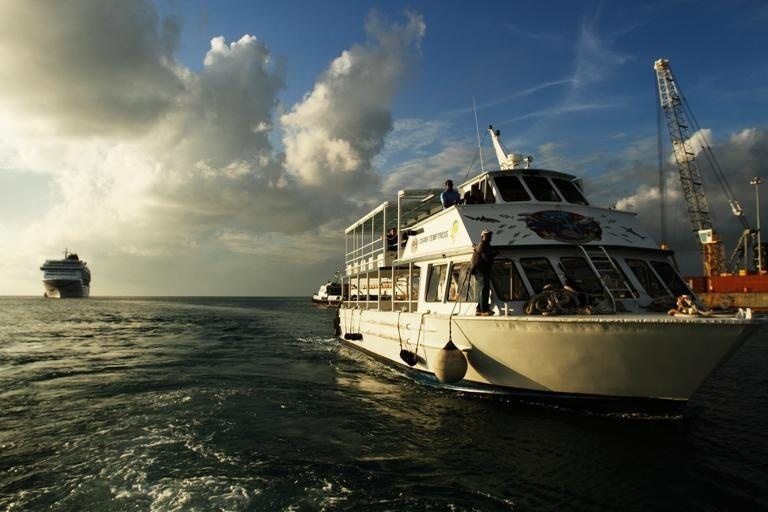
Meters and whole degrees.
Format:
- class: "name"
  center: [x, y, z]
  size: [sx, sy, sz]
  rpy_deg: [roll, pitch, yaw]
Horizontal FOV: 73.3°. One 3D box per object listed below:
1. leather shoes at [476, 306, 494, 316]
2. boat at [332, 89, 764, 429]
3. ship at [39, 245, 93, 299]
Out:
- class: "leather shoes"
  center: [2.989, 1.601, 15.426]
  size: [0.222, 0.223, 0.567]
  rpy_deg: [1, -13, 3]
- class: "boat"
  center: [3.900, 1.545, 20.221]
  size: [7.232, 6.343, 16.550]
  rpy_deg: [1, -7, -19]
- class: "ship"
  center: [-73.649, 4.870, 119.433]
  size: [9.902, 10.748, 30.194]
  rpy_deg: [2, -8, -34]
